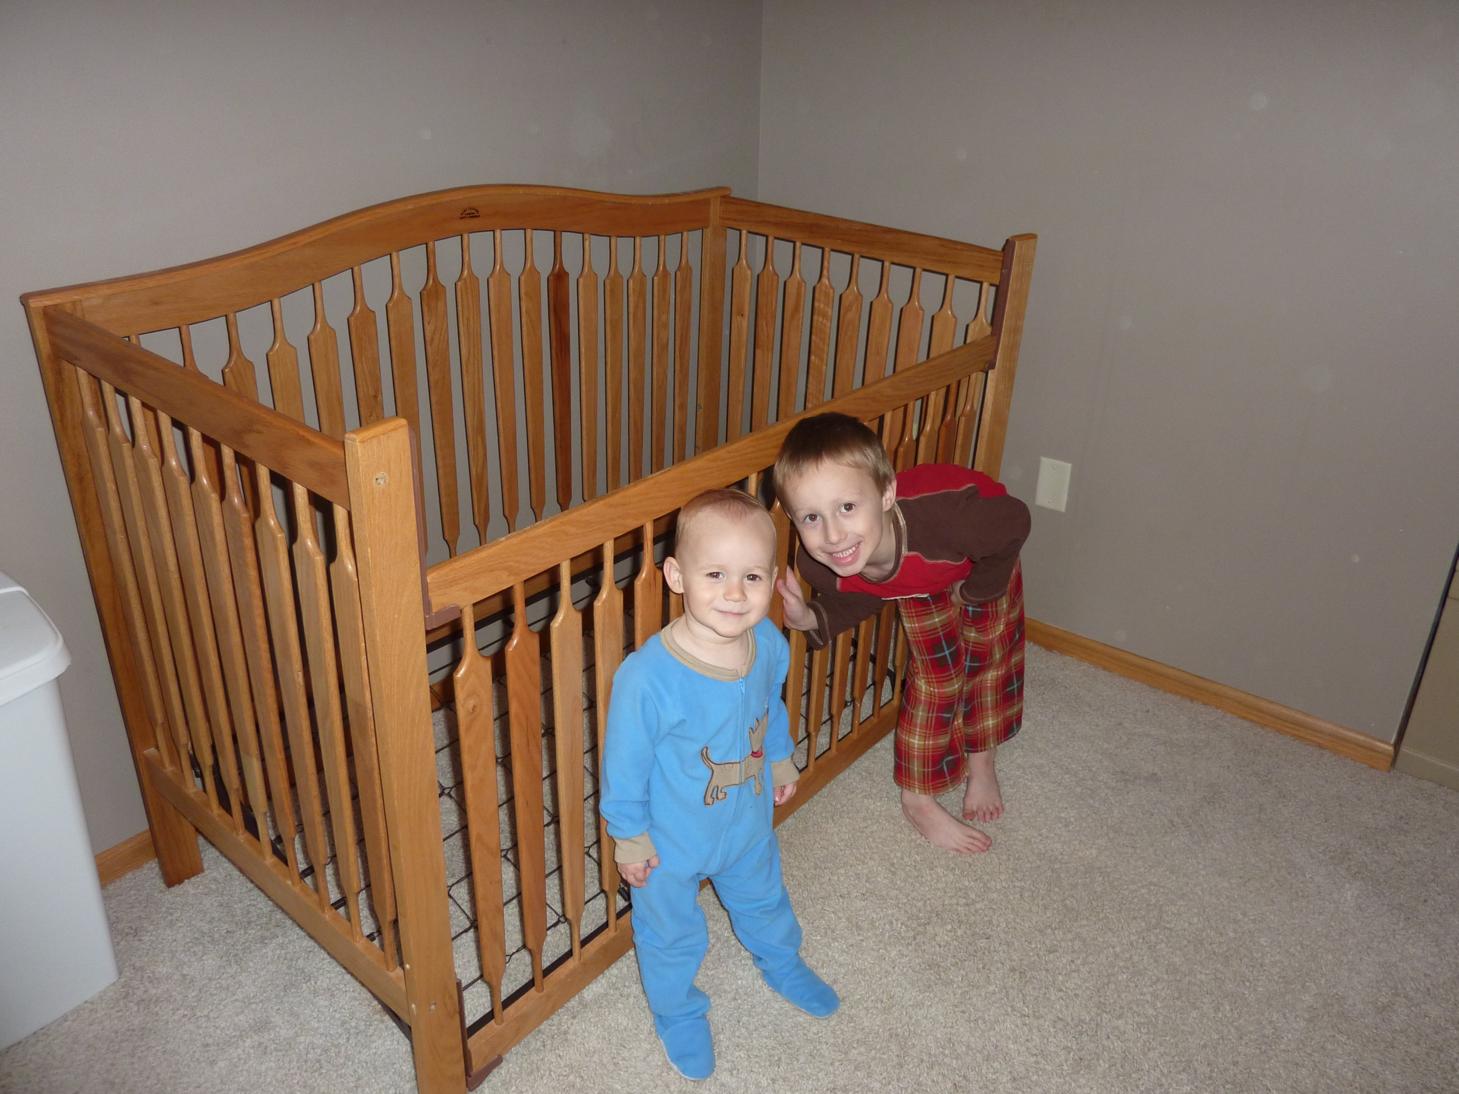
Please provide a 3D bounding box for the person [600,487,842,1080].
[{"bbox_3d":[0.012,0.450,1.951,0.381,1.084,0.429,22,30,34],"label":"person"}]

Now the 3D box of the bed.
[{"bbox_3d":[-0.421,0.228,2.175,0.779,1.157,1.407,28,43,32],"label":"bed"}]
